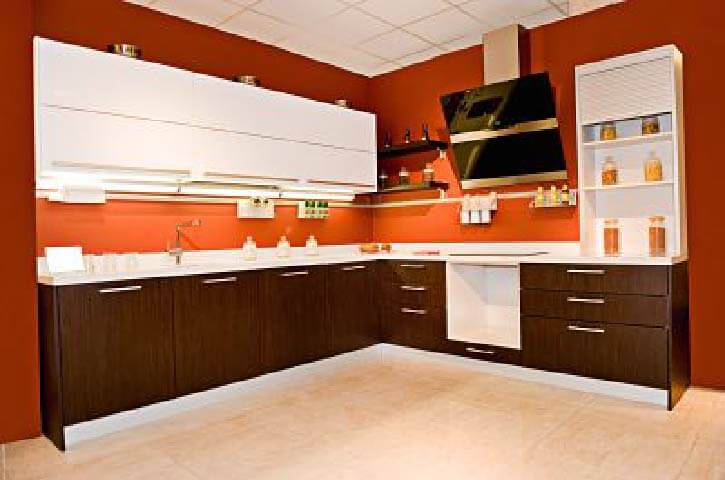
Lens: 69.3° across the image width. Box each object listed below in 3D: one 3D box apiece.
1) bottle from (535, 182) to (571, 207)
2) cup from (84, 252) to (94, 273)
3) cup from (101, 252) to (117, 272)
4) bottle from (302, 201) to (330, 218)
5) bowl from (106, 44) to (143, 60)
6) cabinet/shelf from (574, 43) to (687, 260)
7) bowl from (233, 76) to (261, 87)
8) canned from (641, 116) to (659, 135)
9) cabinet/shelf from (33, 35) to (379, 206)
[{"bbox_3d":[1.947,-0.444,5.382,0.410,0.271,0.216,-2,-7,40],"label":"bottle"},{"bbox_3d":[-2.270,0.191,4.382,0.073,0.152,0.192,-4,0,-30],"label":"cup"},{"bbox_3d":[-2.176,0.195,4.515,0.136,0.214,0.143,2,3,0],"label":"cup"},{"bbox_3d":[-0.535,-0.361,6.089,0.085,0.177,0.368,-2,-2,44],"label":"bottle"},{"bbox_3d":[-2.099,-1.668,4.630,0.276,0.131,0.169,-4,0,-22],"label":"bowl"},{"bbox_3d":[2.485,-0.765,4.930,0.952,2.035,0.465,-4,0,36],"label":"cabinet/shelf"},{"bbox_3d":[-1.137,-1.612,5.315,0.215,0.070,0.211,1,2,0],"label":"bowl"},{"bbox_3d":[2.612,-1.042,4.808,0.172,0.168,0.167,-1,2,-26],"label":"canned"},{"bbox_3d":[-1.466,-1.103,5.174,3.033,1.386,0.449,-4,0,-34],"label":"cabinet/shelf"}]
